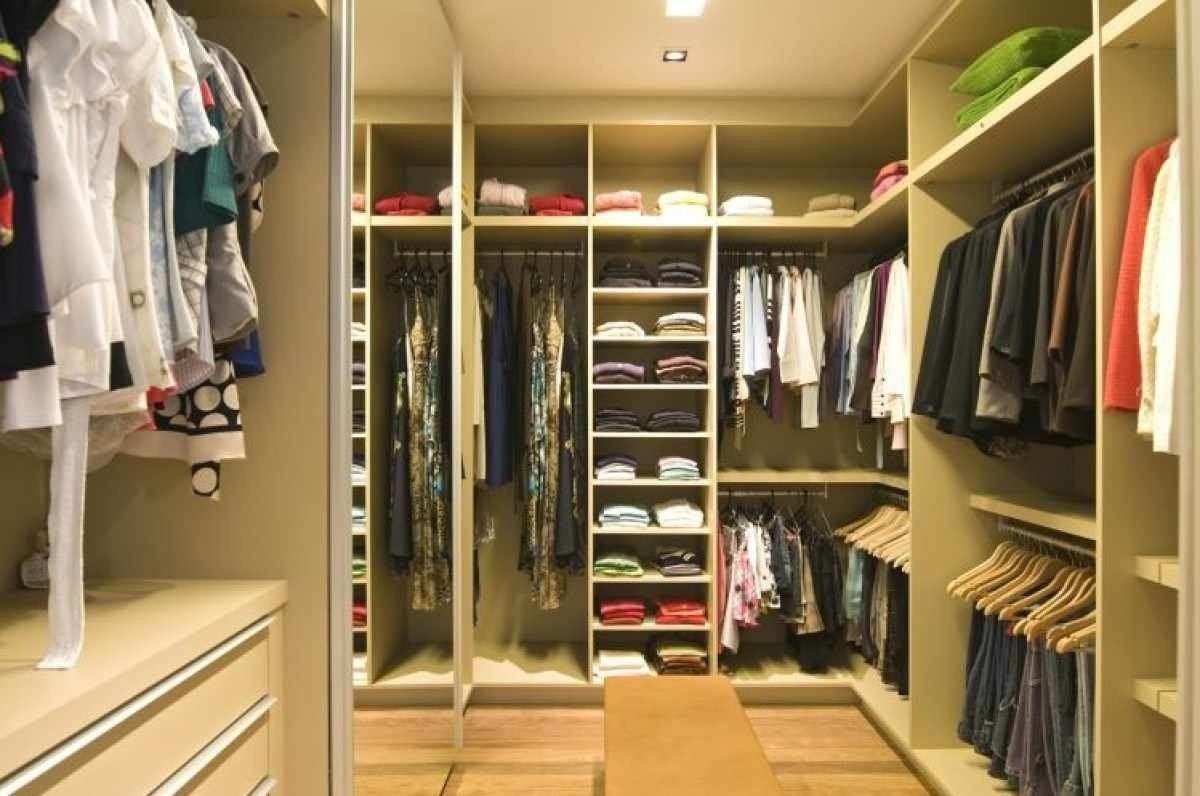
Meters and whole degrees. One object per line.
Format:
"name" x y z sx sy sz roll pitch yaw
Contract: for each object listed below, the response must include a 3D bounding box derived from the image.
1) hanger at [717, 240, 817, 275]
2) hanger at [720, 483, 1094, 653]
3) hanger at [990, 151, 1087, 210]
"hanger" 0.803 -0.689 4.604 0.403 0.055 0.166 3 -24 5
"hanger" 1.386 0.590 3.720 0.398 0.466 1.550 -1 2 -22
"hanger" 1.653 -0.808 3.487 0.298 0.195 0.501 0 2 9
